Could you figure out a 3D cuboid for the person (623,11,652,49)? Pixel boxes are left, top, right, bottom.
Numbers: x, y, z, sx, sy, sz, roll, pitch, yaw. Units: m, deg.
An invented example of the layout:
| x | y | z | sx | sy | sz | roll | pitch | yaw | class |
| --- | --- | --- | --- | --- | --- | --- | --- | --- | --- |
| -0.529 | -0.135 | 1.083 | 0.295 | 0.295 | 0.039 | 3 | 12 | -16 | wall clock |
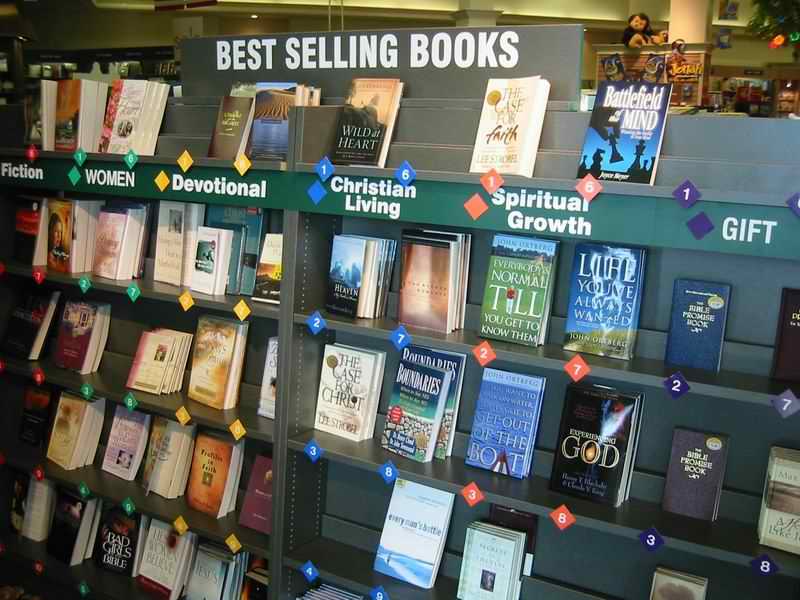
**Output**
| x | y | z | sx | sy | sz | roll | pitch | yaw | class |
| --- | --- | --- | --- | --- | --- | --- | --- | --- | --- |
| 2.585 | -2.957 | 6.570 | 0.277 | 0.253 | 0.825 | 30 | 24 | -7 | person |
